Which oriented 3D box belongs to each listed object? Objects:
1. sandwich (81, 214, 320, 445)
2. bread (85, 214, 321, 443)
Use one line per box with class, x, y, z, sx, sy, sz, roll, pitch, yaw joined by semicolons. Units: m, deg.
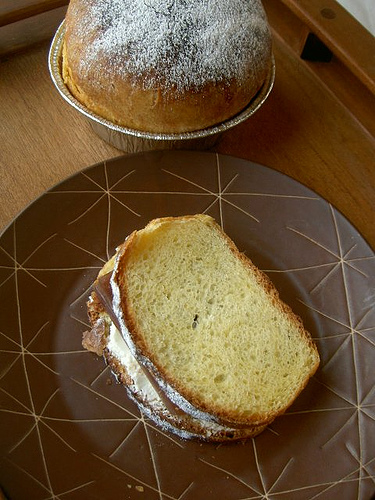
sandwich;0.011;0.145;0.902;0.352;0.123;0.397;-12;64;-23
bread;0.001;0.125;0.889;0.337;0.123;0.400;-16;65;-25
